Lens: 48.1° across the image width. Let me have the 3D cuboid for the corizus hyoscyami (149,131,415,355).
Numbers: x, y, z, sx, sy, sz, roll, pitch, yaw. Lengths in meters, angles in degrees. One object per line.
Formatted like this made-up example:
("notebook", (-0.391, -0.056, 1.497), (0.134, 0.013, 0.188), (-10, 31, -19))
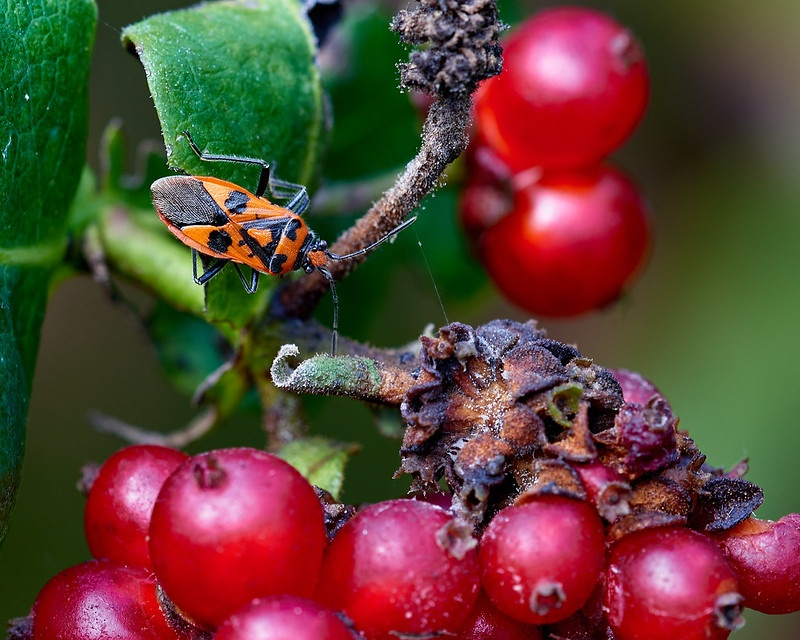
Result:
("corizus hyoscyami", (-0.298, -0.163, 2.179), (0.549, 0.180, 0.451), (16, 53, 6))

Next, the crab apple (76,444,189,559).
("crab apple", (-0.477, 0.327, 1.681), (0.167, 0.231, 0.166), (0, 15, 11))
